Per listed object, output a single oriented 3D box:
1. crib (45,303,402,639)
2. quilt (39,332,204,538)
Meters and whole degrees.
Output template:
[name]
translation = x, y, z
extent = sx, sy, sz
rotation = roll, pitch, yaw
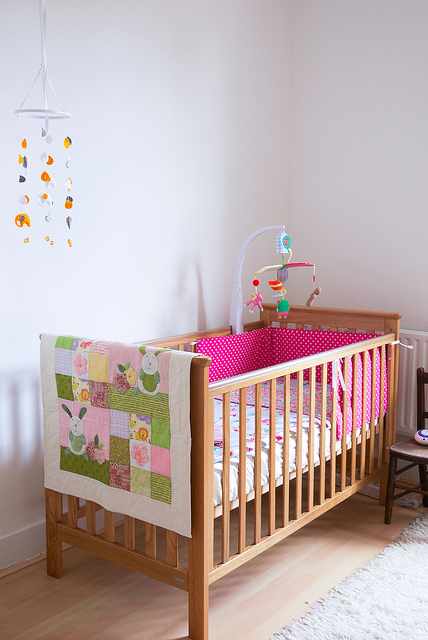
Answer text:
[crib]
translation = 0.084, 0.393, 2.122
extent = 0.726, 0.798, 1.236
rotation = 5, 10, 36
[quilt]
translation = -0.256, 0.284, 1.571
extent = 0.522, 0.460, 0.045
rotation = 5, 7, 32
